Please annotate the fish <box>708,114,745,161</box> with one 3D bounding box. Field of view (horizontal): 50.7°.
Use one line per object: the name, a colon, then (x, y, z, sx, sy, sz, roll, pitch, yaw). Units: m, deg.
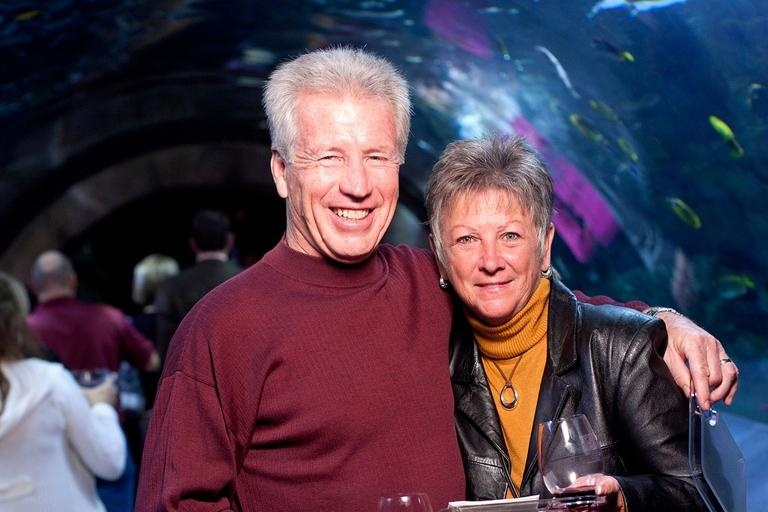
fish: (2.332, -0.831, 5.579, 0.136, 0.381, 0.111, -38, 4, 16)
